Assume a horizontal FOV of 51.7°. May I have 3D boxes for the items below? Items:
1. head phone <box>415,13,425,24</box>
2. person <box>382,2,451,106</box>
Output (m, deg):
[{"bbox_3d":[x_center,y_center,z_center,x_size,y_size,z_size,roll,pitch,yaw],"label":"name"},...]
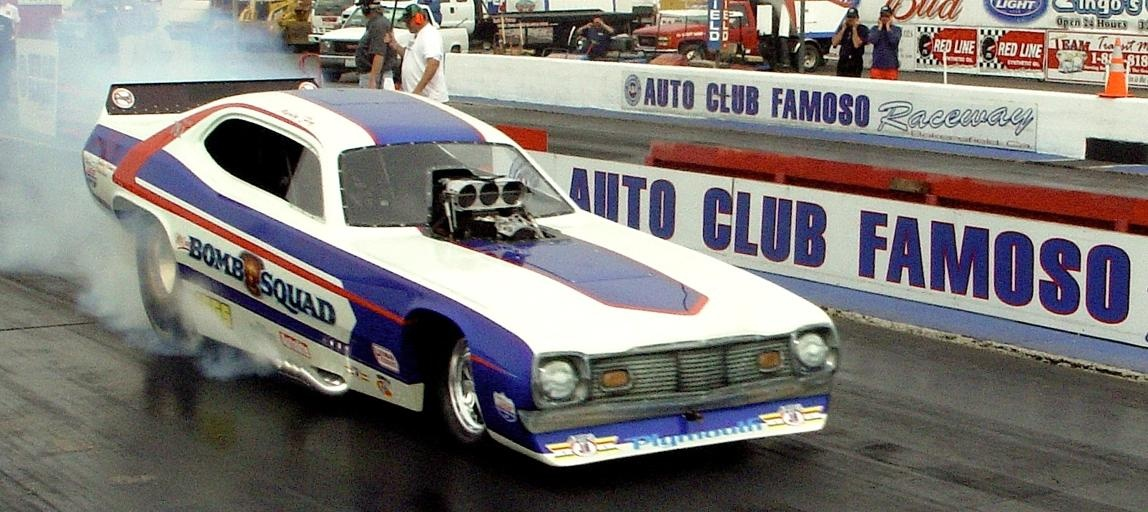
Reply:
[{"bbox_3d":[-2.718,-4.284,21.415,0.197,0.082,0.234,10,32,-15],"label":"head phone"},{"bbox_3d":[-2.740,-3.534,21.569,1.252,2.145,1.052,3,1,-4],"label":"person"}]
